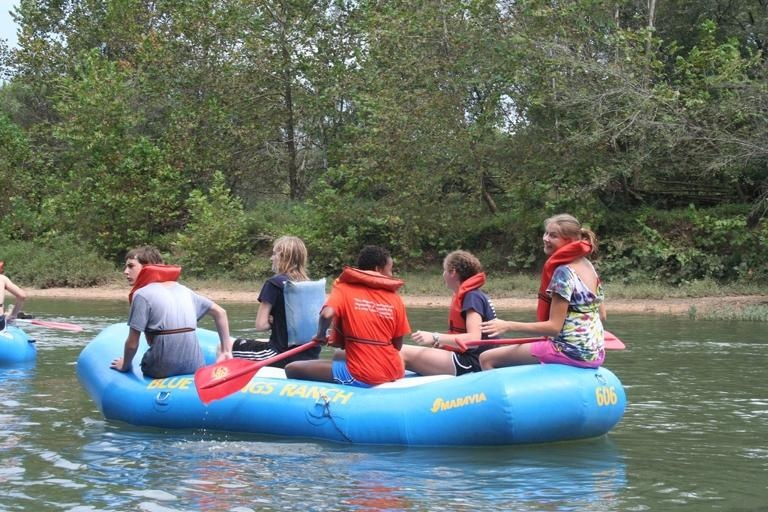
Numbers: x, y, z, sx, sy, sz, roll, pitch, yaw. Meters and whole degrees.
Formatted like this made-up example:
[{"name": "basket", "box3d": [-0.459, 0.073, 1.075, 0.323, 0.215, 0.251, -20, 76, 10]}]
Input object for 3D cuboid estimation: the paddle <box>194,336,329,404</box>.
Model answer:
[{"name": "paddle", "box3d": [-2.133, 1.965, 17.860, 2.803, 0.682, 0.127, -19, 17, -36]}]
